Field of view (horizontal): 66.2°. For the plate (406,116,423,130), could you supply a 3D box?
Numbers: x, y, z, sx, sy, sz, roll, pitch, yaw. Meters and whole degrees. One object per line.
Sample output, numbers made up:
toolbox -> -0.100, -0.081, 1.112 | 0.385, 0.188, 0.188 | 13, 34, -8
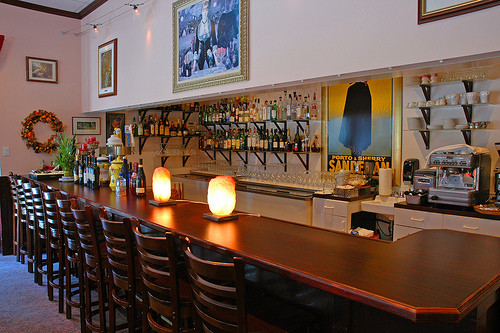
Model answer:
plate -> 2.191, -0.580, 5.127 | 0.158, 0.138, 0.179 | 0, -3, 2

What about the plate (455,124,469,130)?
plate -> 2.630, -0.492, 4.754 | 0.140, 0.066, 0.139 | -9, 8, -38

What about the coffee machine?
coffee machine -> 2.572, 0.082, 4.783 | 0.740, 0.751, 0.682 | -1, 4, -18

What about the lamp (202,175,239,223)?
lamp -> -0.264, 0.288, 3.705 | 0.417, 0.407, 0.399 | 1, 1, 4

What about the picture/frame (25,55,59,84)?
picture/frame -> -3.934, -1.822, 7.221 | 0.050, 0.524, 0.610 | 0, 1, 42

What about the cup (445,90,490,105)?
cup -> 2.652, -0.830, 4.647 | 0.291, 0.116, 0.199 | 0, 1, 23

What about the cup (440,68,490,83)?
cup -> 2.602, -1.117, 4.717 | 0.508, 0.132, 0.157 | -2, 7, 23

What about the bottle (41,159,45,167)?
bottle -> -3.756, -0.060, 6.965 | 0.028, 0.134, 0.143 | 8, -1, -17

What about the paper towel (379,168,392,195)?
paper towel -> 1.866, 0.214, 5.324 | 0.171, 0.385, 0.129 | -2, 6, 18

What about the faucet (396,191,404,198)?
faucet -> 2.090, 0.383, 5.367 | 0.043, 0.081, 0.083 | -1, 7, -43

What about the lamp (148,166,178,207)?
lamp -> -0.967, 0.203, 4.209 | 0.268, 0.396, 0.298 | 2, 5, 13

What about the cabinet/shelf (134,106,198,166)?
cabinet/shelf -> -1.731, -0.613, 7.696 | 0.362, 1.053, 1.202 | 2, 3, 43

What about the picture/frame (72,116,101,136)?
picture/frame -> -3.293, -0.819, 7.680 | 0.518, 0.391, 0.020 | -2, 3, -35

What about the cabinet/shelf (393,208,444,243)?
cabinet/shelf -> 2.168, 0.851, 4.802 | 0.598, 0.446, 0.561 | -17, -1, 28

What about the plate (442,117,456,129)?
plate -> 2.486, -0.539, 4.823 | 0.135, 0.142, 0.136 | 1, -3, 11

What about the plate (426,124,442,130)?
plate -> 2.382, -0.512, 4.962 | 0.169, 0.069, 0.164 | -1, 7, 25

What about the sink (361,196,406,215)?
sink -> 1.829, 0.527, 5.251 | 0.504, 0.231, 0.508 | -10, 8, -44
